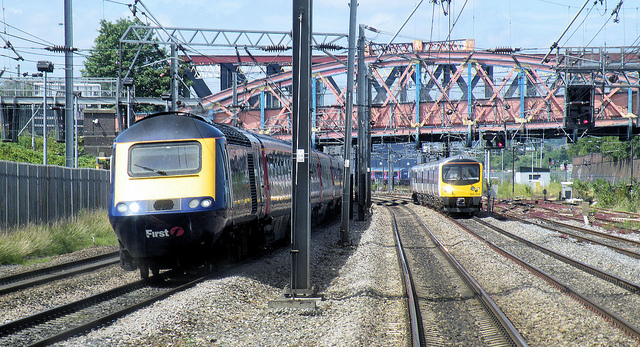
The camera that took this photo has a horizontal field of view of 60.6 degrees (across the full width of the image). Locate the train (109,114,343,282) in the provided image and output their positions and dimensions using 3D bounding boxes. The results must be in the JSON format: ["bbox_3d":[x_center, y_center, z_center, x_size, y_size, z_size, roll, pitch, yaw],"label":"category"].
[{"bbox_3d":[-3.873,0.760,31.229,4.102,5.301,21.070,-1,-1,8],"label":"train"}]
